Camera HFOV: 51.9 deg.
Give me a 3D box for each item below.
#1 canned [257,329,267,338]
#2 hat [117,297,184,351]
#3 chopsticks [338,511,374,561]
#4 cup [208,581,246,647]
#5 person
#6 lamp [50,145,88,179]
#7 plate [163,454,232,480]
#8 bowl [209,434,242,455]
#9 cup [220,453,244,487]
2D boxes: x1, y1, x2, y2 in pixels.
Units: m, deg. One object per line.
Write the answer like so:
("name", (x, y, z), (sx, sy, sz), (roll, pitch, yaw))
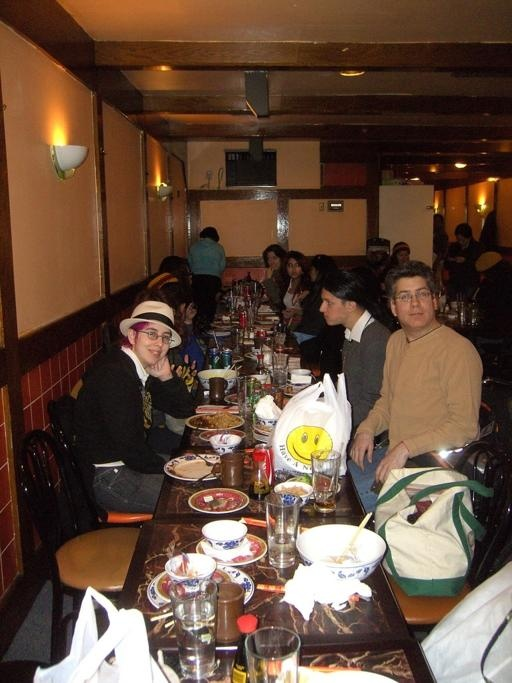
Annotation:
("canned", (0.042, -0.056, 3.885), (0.067, 0.061, 0.066), (2, 6, 9))
("hat", (-0.473, -0.110, 2.377), (0.234, 0.126, 0.244), (18, -26, -24))
("chopsticks", (0.227, 0.449, 1.210), (0.022, 0.138, 0.020), (27, -17, 22))
("cup", (-0.032, 0.462, 0.900), (0.060, 0.080, 0.094), (1, 5, 4))
("person", (0.400, 0.061, 2.647), (0.919, 1.464, 0.992), (3, 7, -3))
("lamp", (-1.094, -1.056, 3.130), (0.208, 0.204, 0.191), (-3, 14, -3))
("plate", (-0.182, 0.401, 1.678), (0.145, 0.020, 0.141), (0, 20, -6))
("bowl", (-0.104, 0.347, 1.811), (0.081, 0.046, 0.082), (1, 1, 0))
("cup", (-0.084, 0.385, 1.593), (0.104, 0.091, 0.062), (-4, 9, -19))
